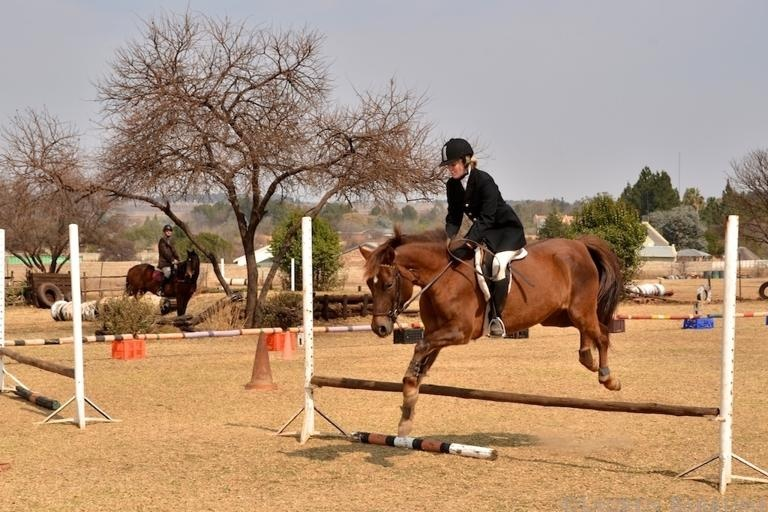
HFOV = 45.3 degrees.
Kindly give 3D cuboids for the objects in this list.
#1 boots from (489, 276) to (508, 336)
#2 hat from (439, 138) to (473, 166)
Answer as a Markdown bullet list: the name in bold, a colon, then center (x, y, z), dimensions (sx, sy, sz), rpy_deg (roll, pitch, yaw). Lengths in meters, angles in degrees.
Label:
- **boots**: center (1.871, 0.830, 14.903), dimensions (0.325, 0.974, 0.289), rpy_deg (0, -2, -20)
- **hat**: center (1.162, -1.694, 14.934), dimensions (0.502, 0.407, 0.550), rpy_deg (-1, -2, 3)
